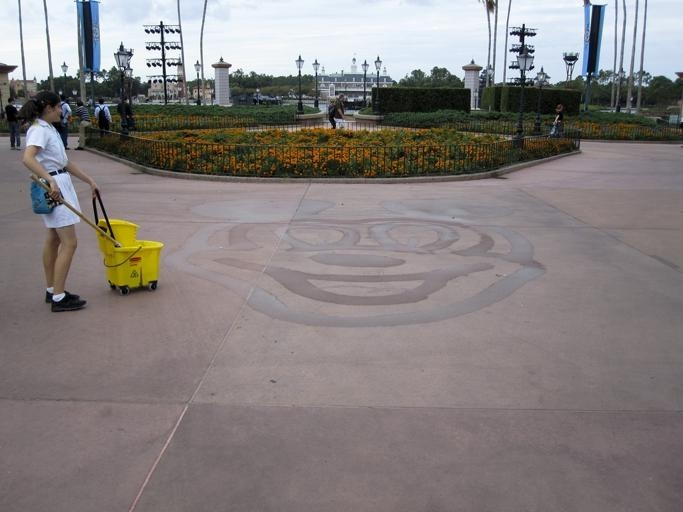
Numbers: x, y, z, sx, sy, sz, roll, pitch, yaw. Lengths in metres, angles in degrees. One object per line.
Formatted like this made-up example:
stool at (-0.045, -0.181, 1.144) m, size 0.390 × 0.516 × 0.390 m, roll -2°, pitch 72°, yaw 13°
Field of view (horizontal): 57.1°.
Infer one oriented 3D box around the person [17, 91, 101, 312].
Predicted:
person at (-2.844, -0.567, 6.329) m, size 0.574 × 2.125 × 0.788 m, roll -6°, pitch 16°, yaw -25°

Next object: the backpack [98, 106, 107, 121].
backpack at (-9.045, -5.383, 23.667) m, size 0.426 × 0.585 × 0.297 m, roll -8°, pitch 15°, yaw -40°

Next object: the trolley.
trolley at (-2.322, -0.186, 6.789) m, size 0.652 × 1.104 × 0.576 m, roll -5°, pitch 10°, yaw -35°

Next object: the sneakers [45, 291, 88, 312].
sneakers at (-2.759, 0.472, 6.300) m, size 0.224 × 0.103 × 0.277 m, roll -3°, pitch 11°, yaw -29°

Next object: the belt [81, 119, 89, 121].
belt at (-10.088, -5.354, 24.728) m, size 0.165 × 0.042 × 0.171 m, roll 1°, pitch 3°, yaw 13°
